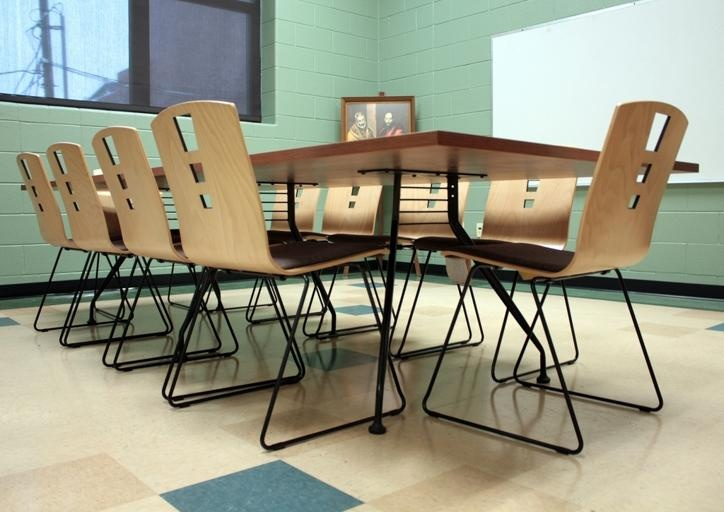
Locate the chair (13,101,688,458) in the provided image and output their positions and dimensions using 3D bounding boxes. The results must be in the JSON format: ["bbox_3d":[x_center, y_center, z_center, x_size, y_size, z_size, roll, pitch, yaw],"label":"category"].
[{"bbox_3d":[0.099,0.005,1.861,1.643,0.690,1.549,-2,2,-39],"label":"chair"}]
